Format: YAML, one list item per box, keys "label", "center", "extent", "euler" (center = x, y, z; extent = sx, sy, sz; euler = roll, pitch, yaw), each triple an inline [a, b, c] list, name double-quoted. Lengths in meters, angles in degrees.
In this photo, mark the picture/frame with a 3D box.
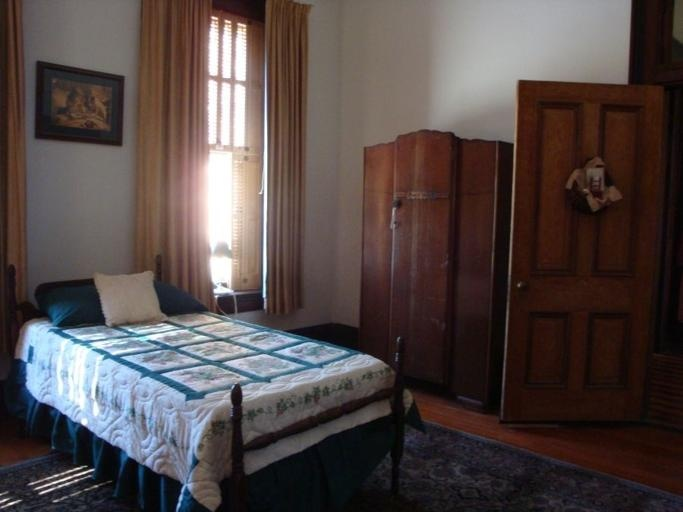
- label: "picture/frame"
  center: [-2.229, -1.280, 4.606]
  extent: [0.772, 0.764, 0.056]
  euler: [1, 0, -36]
